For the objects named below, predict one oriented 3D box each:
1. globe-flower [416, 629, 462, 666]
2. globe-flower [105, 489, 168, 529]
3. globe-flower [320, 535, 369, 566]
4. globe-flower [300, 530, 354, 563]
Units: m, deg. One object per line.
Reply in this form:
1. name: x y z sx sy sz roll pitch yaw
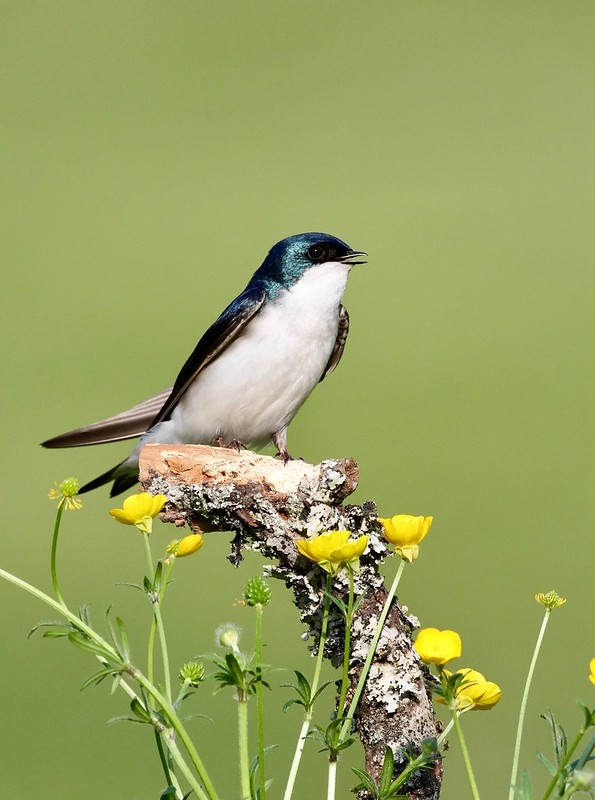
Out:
1. globe-flower: 0.229 0.412 1.850 0.072 0.064 0.171 -1 -15 6
2. globe-flower: -0.274 0.197 1.930 0.084 0.082 0.184 1 -15 -3
3. globe-flower: 0.076 0.240 1.776 0.062 0.047 0.086 0 -15 2
4. globe-flower: 0.040 0.250 1.807 0.075 0.044 0.061 -26 2 13
